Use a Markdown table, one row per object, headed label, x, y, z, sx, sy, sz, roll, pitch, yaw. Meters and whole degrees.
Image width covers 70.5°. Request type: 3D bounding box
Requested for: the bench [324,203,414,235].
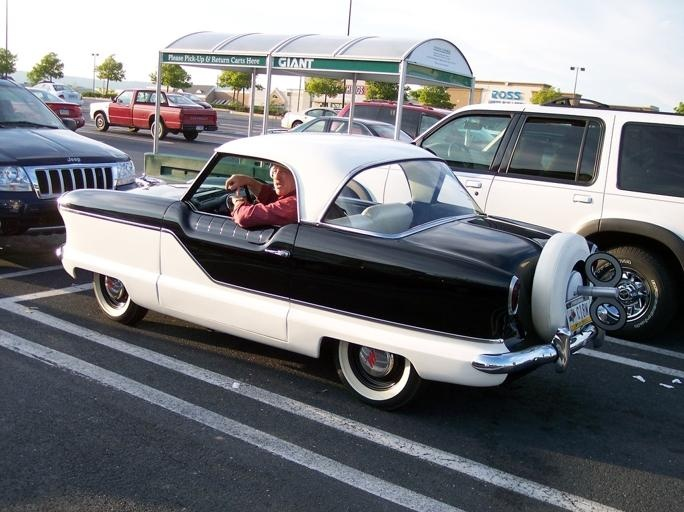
| label | x | y | z | sx | sy | sz | roll | pitch | yaw |
| --- | --- | --- | --- | --- | --- | --- | --- | --- | --- |
| bench | 0.294 | -0.282 | 3.647 | 0.721 | 0.187 | 0.337 | -3 | 18 | -21 |
